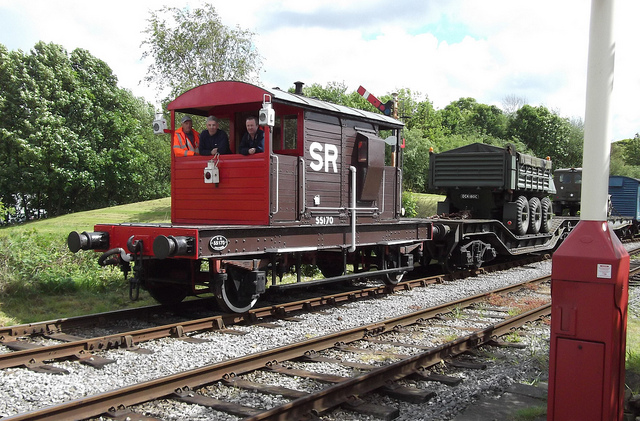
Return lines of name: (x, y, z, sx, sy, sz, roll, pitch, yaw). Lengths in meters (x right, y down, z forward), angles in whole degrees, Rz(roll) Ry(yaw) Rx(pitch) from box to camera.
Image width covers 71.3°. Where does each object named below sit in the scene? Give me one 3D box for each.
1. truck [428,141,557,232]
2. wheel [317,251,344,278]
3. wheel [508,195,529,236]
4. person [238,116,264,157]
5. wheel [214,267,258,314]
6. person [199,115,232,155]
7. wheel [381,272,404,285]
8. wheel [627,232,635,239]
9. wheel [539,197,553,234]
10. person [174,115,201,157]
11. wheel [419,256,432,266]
truck: (6.837, -0.700, 17.052, 3.087, 3.116, 5.294, 4, 2, 43)
wheel: (0.255, 1.351, 11.383, 0.613, 0.788, 1.063, -1, 3, 0)
wheel: (6.825, 0.160, 15.379, 0.402, 1.164, 1.168, 1, -17, 33)
person: (-1.340, -1.471, 8.817, 0.422, 0.804, 0.595, -2, 3, -23)
wheel: (-1.539, 1.431, 8.192, 0.218, 0.736, 0.825, -5, 7, 25)
person: (-2.164, -1.569, 9.400, 0.548, 0.829, 0.783, -2, 3, -31)
wheel: (1.771, 1.691, 11.220, 0.717, 0.307, 0.197, -3, 4, -40)
wheel: (19.462, 1.528, 27.857, 0.401, 0.162, 0.713, 5, 10, 41)
wheel: (9.031, 0.193, 17.948, 0.471, 1.411, 1.415, 2, 6, 33)
person: (-2.859, -1.616, 9.719, 0.528, 0.910, 0.686, -1, 3, -9)
wheel: (3.299, 1.550, 14.015, 0.284, 0.389, 0.090, -3, 23, -5)
